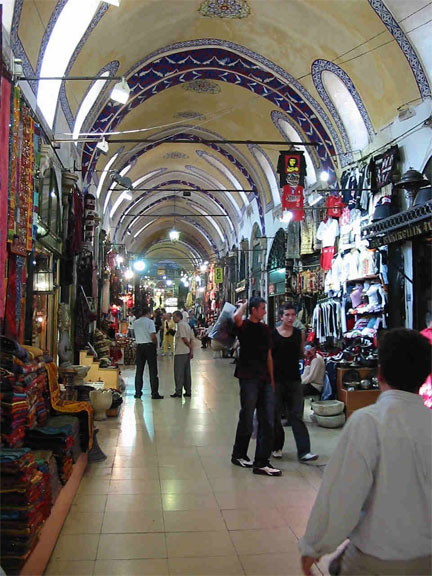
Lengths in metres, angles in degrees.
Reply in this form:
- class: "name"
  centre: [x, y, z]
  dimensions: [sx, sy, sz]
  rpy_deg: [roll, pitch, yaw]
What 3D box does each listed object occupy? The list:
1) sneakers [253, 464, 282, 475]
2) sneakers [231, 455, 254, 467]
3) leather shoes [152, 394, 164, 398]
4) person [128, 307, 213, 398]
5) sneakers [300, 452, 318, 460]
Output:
- class: "sneakers"
  centre: [0.481, 1.648, 3.842]
  dimensions: [0.247, 0.120, 0.097]
  rpy_deg: [0, -9, 7]
- class: "sneakers"
  centre: [0.258, 1.676, 4.082]
  dimensions: [0.185, 0.089, 0.073]
  rpy_deg: [0, -2, 22]
- class: "leather shoes"
  centre: [-1.073, 1.989, 7.719]
  dimensions: [0.211, 0.102, 0.075]
  rpy_deg: [1, -3, -15]
- class: "person"
  centre: [-1.019, 1.246, 7.938]
  dimensions: [1.127, 1.642, 0.643]
  rpy_deg: [2, -6, -10]
- class: "sneakers"
  centre: [0.938, 1.679, 4.183]
  dimensions: [0.180, 0.091, 0.075]
  rpy_deg: [-7, -3, 22]
